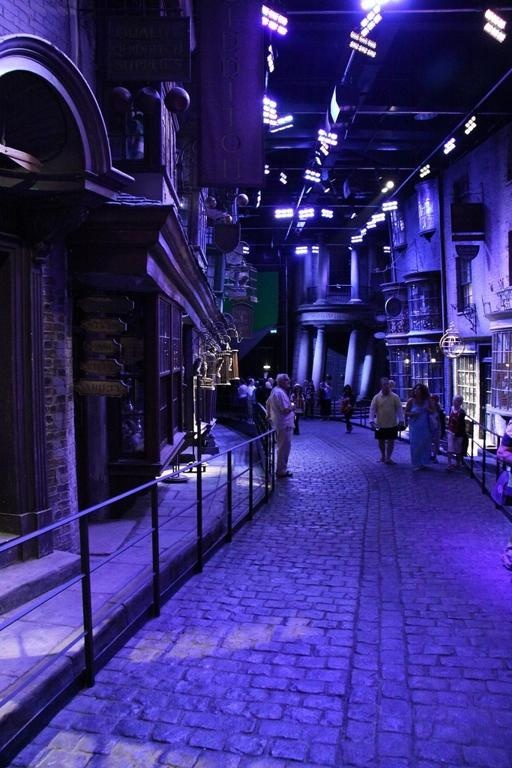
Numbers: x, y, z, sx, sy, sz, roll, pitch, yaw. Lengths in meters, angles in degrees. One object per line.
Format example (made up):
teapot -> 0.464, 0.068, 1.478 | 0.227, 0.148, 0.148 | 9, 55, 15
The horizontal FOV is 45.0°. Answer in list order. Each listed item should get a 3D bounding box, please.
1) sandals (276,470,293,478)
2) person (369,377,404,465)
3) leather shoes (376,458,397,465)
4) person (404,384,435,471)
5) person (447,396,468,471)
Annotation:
sandals -> 0.545, 1.748, 11.909 | 0.297, 0.146, 0.115 | 1, 2, -22
person -> 2.848, 0.810, 13.517 | 0.653, 1.455, 1.885 | 1, 0, 12
leather shoes -> 2.873, 1.705, 13.653 | 0.131, 0.123, 0.385 | 1, -6, -14
person -> 3.279, 0.878, 12.422 | 0.519, 1.306, 0.866 | 1, 0, 17
person -> 4.132, 0.980, 12.644 | 0.359, 1.060, 0.913 | 1, 0, 20
